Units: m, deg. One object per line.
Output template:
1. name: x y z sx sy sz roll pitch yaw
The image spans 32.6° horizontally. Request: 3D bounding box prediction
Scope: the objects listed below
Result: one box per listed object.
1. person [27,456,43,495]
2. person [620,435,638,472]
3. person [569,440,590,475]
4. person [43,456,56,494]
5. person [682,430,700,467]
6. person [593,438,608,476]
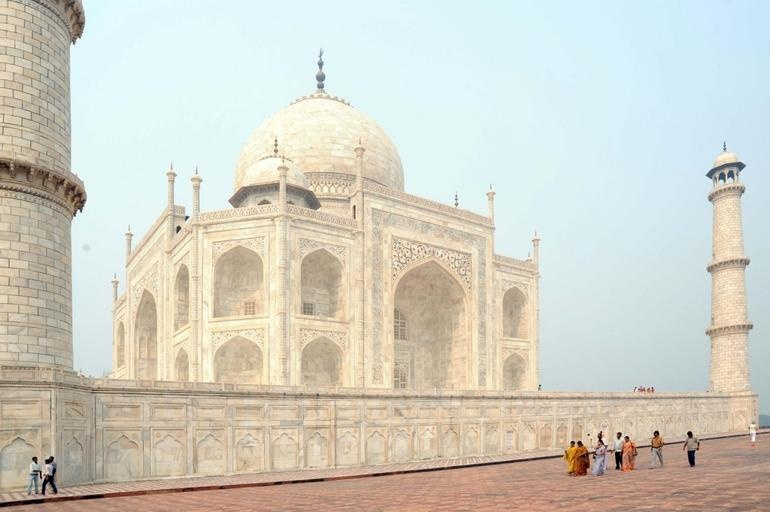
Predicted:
1. person: -10.084 6.255 37.787 0.371 0.953 0.733 0 7 -16
2. person: 7.566 6.114 40.785 0.396 1.052 1.470 3 7 11
3. person: 5.895 6.111 39.966 0.579 1.049 1.094 2 7 8
4. person: -9.691 6.297 37.898 0.462 1.056 0.892 0 7 -14
5. person: 9.470 5.911 40.633 0.326 1.194 1.448 3 7 15
6. person: 6.481 6.040 39.696 0.351 1.091 0.880 3 7 10
